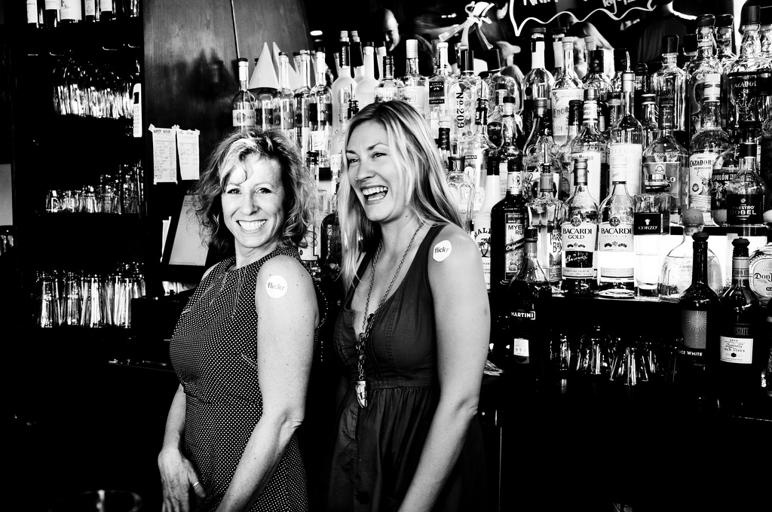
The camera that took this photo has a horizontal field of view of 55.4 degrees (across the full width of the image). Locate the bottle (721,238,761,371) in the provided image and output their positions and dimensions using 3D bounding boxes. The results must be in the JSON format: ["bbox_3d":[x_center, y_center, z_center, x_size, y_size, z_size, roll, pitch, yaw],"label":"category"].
[{"bbox_3d":[1.405,0.179,2.876,0.208,0.504,0.117,0,2,-24],"label":"bottle"}]

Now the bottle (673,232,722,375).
[{"bbox_3d":[1.234,0.198,2.882,0.147,0.526,0.059,2,2,22],"label":"bottle"}]

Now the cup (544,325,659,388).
[{"bbox_3d":[0.912,0.422,3.079,0.315,0.155,0.318,0,-1,0],"label":"cup"}]

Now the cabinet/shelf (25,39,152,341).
[{"bbox_3d":[-1.847,-0.654,4.497,0.513,1.236,0.284,-8,48,-31],"label":"cabinet/shelf"}]

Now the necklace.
[{"bbox_3d":[0.005,0.208,2.867,0.222,0.744,0.063,8,-15,21],"label":"necklace"}]
